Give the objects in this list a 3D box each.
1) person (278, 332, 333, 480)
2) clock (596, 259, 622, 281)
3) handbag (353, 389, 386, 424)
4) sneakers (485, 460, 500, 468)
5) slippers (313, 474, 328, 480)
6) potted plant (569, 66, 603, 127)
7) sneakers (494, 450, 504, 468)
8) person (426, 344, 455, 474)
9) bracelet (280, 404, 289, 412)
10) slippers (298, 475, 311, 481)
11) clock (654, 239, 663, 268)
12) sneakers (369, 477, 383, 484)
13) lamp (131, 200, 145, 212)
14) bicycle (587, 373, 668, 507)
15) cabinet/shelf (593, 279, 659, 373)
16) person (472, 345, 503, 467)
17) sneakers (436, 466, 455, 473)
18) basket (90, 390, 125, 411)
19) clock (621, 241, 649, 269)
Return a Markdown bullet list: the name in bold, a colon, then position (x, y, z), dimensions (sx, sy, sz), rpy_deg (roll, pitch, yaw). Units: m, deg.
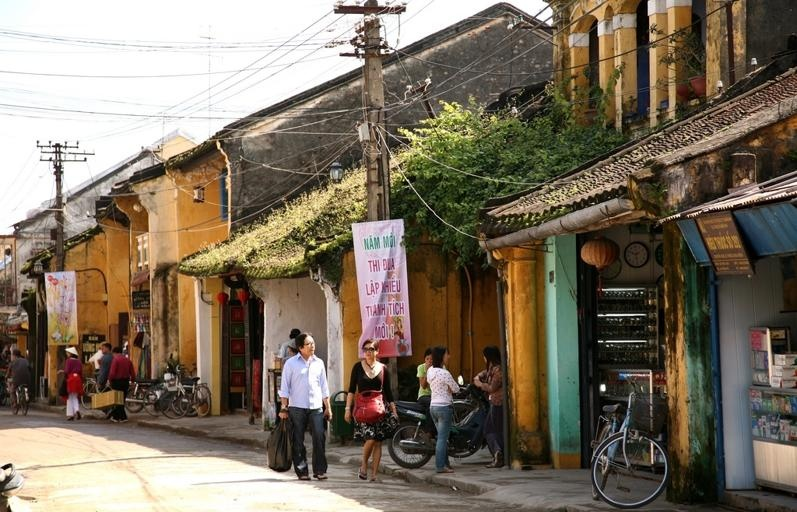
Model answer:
- **person**: position (-1.757, 2.822, 19.305), dimensions (0.912, 2.809, 1.137), rpy_deg (-1, -14, -4)
- **clock**: position (4.056, 0.279, 19.699), dimensions (0.402, 0.398, 0.050), rpy_deg (3, -3, 1)
- **handbag**: position (-0.529, 2.830, 19.005), dimensions (0.642, 0.639, 0.377), rpy_deg (-9, -19, 15)
- **sneakers**: position (1.844, 4.120, 20.134), dimensions (0.283, 0.183, 0.097), rpy_deg (2, -6, 18)
- **slippers**: position (-1.446, 4.160, 19.179), dimensions (0.254, 0.105, 0.094), rpy_deg (-15, -17, 41)
- **potted plant**: position (4.519, -3.906, 24.509), dimensions (0.529, 1.464, 1.096), rpy_deg (4, -15, -23)
- **sneakers**: position (1.978, 4.005, 20.072), dimensions (0.140, 0.327, 0.120), rpy_deg (2, -11, 8)
- **person**: position (0.857, 2.937, 19.731), dimensions (0.588, 2.428, 0.746), rpy_deg (-2, -14, 1)
- **bracelet**: position (-2.110, 2.827, 18.863), dimensions (0.111, 0.091, 0.093), rpy_deg (-3, -8, 23)
- **slippers**: position (-1.747, 4.147, 19.047), dimensions (0.087, 0.089, 0.214), rpy_deg (5, -11, -27)
- **clock**: position (5.073, -0.029, 19.939), dimensions (0.166, 0.469, 0.105), rpy_deg (-11, -16, 32)
- **sneakers**: position (-0.422, 4.199, 19.061), dimensions (0.199, 0.059, 0.092), rpy_deg (-1, -1, 26)
- **lamp**: position (-9.350, -1.750, 36.828), dimensions (0.416, 0.113, 0.409), rpy_deg (24, -46, 23)
- **bicycle**: position (3.940, 3.291, 17.375), dimensions (1.269, 1.972, 1.592), rpy_deg (-6, -15, 15)
- **cabinet/shelf**: position (4.445, 1.447, 19.859), dimensions (1.717, 2.294, 1.133), rpy_deg (-1, -6, 5)
- **person**: position (1.852, 2.998, 20.317), dimensions (0.611, 2.384, 0.364), rpy_deg (-7, -15, 18)
- **sneakers**: position (0.909, 4.104, 19.571), dimensions (0.345, 0.142, 0.116), rpy_deg (0, 3, -6)
- **basket**: position (-8.282, 4.088, 29.065), dimensions (1.094, 0.547, 0.521), rpy_deg (-12, -15, 27)
- **clock**: position (4.667, 0.000, 20.004), dimensions (0.547, 0.543, 0.074), rpy_deg (-1, 1, 8)
